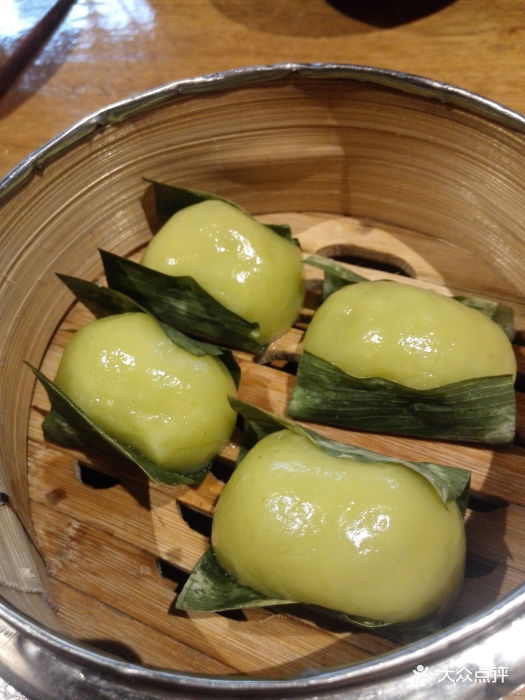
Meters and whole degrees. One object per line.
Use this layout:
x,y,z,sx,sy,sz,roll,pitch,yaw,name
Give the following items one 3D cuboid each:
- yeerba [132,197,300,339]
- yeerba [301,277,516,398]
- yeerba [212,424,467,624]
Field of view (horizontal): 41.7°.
-0.075,-0.122,1.228,0.281,0.128,0.208,32,57,3,yeerba
0.231,-0.016,1.064,0.312,0.070,0.178,24,67,14,yeerba
0.103,0.224,0.892,0.309,0.098,0.219,14,65,9,yeerba
